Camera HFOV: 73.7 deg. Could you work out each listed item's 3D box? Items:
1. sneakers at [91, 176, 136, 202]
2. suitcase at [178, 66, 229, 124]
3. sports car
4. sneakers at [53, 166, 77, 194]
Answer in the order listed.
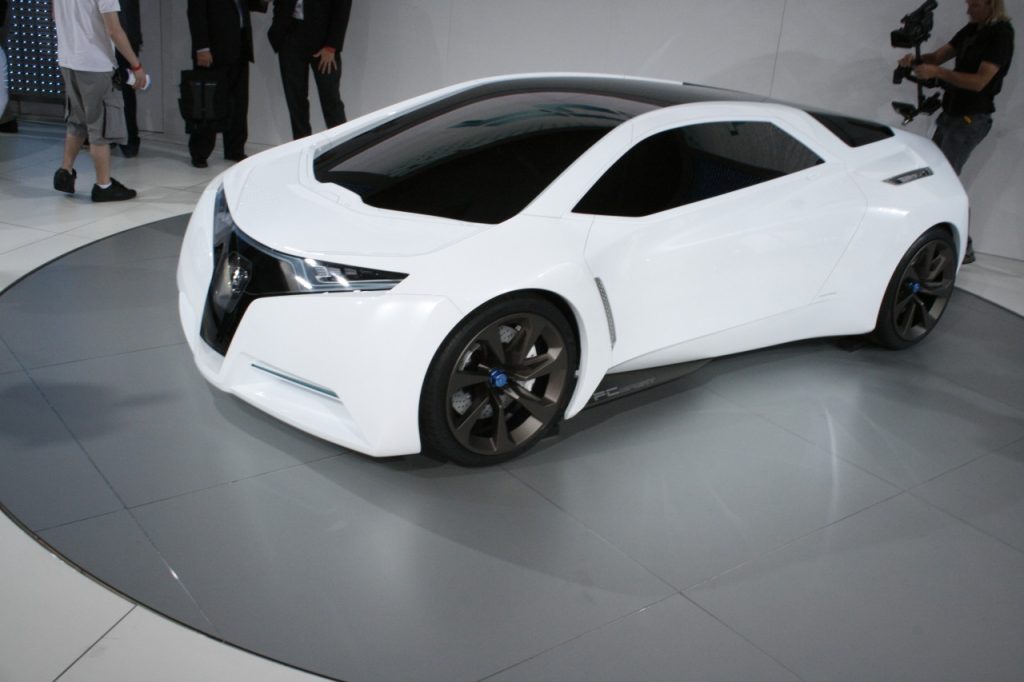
[{"bbox_3d":[-3.840,-1.483,6.634,0.423,0.228,0.197,-9,27,-27],"label":"sneakers"},{"bbox_3d":[-3.568,-2.829,7.994,0.517,0.603,0.185,3,3,4],"label":"suitcase"},{"bbox_3d":[0.449,-0.592,3.725,3.736,1.337,2.191,-14,35,-28],"label":"sports car"},{"bbox_3d":[-4.300,-1.534,6.557,0.122,0.156,0.346,23,-2,-9],"label":"sneakers"}]
